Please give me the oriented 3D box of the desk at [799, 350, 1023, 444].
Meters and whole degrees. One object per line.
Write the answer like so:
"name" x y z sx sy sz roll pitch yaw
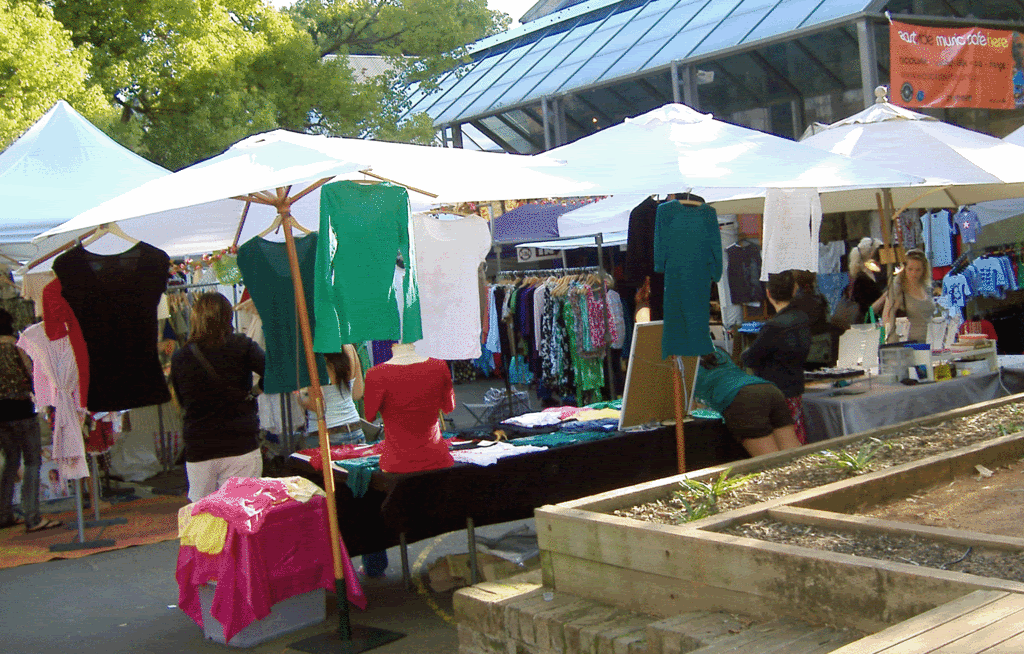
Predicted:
"desk" 3.608 0.785 8.451 1.504 0.343 0.826 -10 9 -28

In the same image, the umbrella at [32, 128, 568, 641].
"umbrella" -1.736 0.445 7.146 4.096 3.393 4.201 -2 2 32

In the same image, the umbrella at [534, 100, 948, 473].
"umbrella" 1.703 -0.544 8.365 3.526 2.867 3.347 0 2 -5
